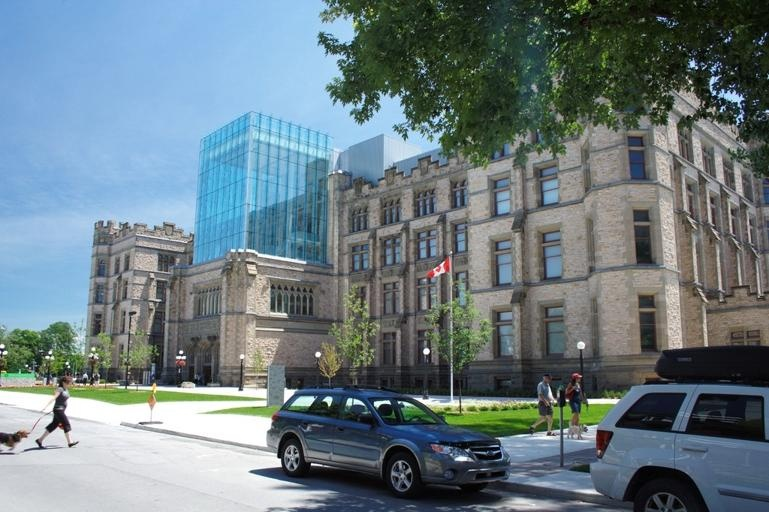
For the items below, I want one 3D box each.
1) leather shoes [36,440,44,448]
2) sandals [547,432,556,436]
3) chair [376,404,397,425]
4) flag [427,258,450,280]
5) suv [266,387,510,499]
[{"bbox_3d":[-10.756,5.868,20.055,0.549,0.206,0.172,-3,-7,40],"label":"leather shoes"},{"bbox_3d":[6.012,6.446,23.189,0.360,0.139,0.138,1,-2,-22],"label":"sandals"},{"bbox_3d":[0.073,3.924,15.935,0.402,0.441,0.420,5,-22,-10],"label":"chair"},{"bbox_3d":[3.997,0.934,47.453,1.633,1.144,0.237,-23,-23,30],"label":"flag"},{"bbox_3d":[-0.066,4.648,16.416,5.590,1.901,2.602,-11,-18,40],"label":"suv"}]
